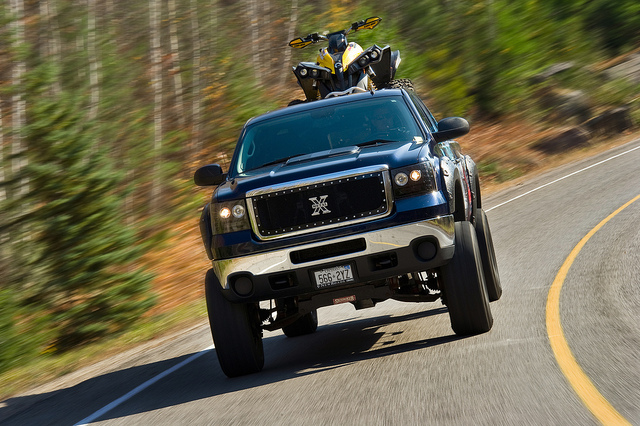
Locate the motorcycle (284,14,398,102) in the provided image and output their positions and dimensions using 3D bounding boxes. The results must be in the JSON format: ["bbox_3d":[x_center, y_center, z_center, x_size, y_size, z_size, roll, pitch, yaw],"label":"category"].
[{"bbox_3d":[0.647,-3.579,13.746,2.020,1.617,2.946,-9,21,14],"label":"motorcycle"}]

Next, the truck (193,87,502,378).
[{"bbox_3d":[0.512,-0.350,9.259,4.034,2.790,5.897,-10,10,7],"label":"truck"}]
